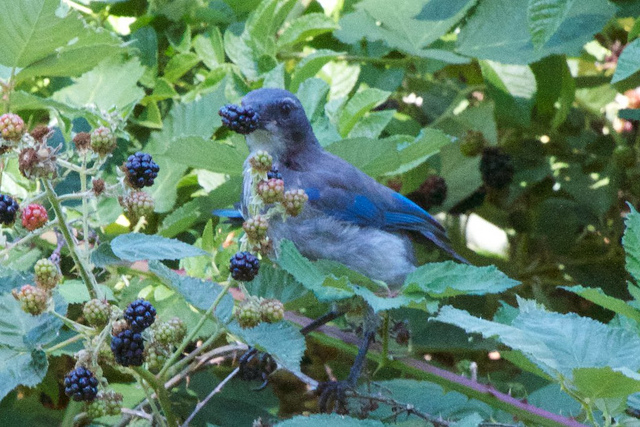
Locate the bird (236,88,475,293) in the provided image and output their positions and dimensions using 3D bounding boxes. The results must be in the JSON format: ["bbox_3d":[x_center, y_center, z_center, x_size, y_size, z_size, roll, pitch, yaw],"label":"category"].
[{"bbox_3d":[0.256,-0.046,2.878,1.134,0.808,0.385,10,-6,-8],"label":"bird"}]
